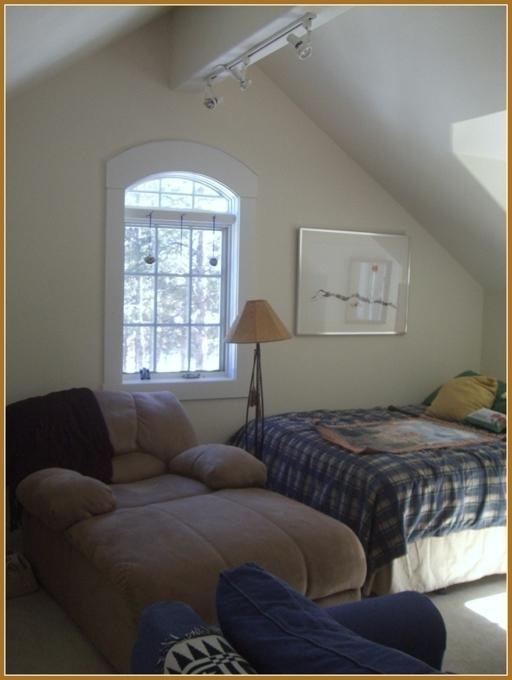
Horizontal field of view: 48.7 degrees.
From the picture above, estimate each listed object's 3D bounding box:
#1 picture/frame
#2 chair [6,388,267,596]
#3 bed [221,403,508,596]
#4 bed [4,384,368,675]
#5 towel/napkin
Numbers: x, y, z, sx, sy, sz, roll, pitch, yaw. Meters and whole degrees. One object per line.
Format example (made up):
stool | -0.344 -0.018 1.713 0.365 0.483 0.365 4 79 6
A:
picture/frame | 0.760 -0.424 4.320 1.065 0.515 0.100 -2 -2 -29
chair | -0.660 0.539 2.718 0.892 0.573 0.868 -1 0 -34
bed | 0.750 0.749 2.756 0.872 0.359 0.889 -3 8 -20
bed | -0.444 0.658 2.354 0.854 0.670 1.331 -2 5 -33
towel/napkin | -0.937 0.456 2.681 0.428 0.443 0.129 -2 -15 -42
